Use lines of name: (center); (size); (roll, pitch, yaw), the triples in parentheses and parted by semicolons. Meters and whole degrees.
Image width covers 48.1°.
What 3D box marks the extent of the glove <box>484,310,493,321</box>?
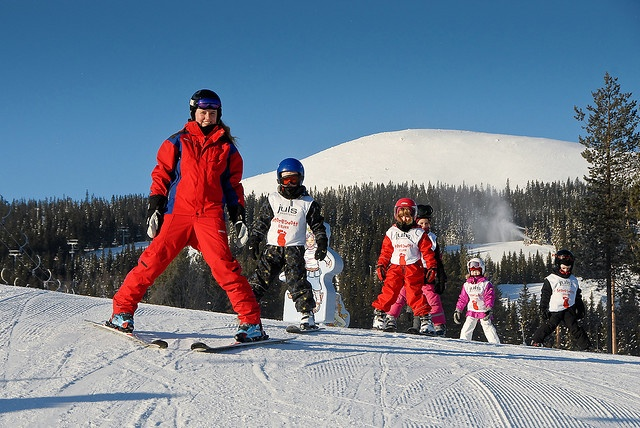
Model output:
glove: (4.287, 2.570, 18.283); (0.190, 0.276, 0.236); (-5, -23, 7)

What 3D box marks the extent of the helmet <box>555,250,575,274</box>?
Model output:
helmet: (6.056, 1.162, 17.766); (0.417, 0.618, 0.574); (3, -3, 0)

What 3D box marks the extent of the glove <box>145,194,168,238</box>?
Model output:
glove: (-2.885, 0.023, 12.615); (0.365, 0.688, 0.253); (2, -9, 29)

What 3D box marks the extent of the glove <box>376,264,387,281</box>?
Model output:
glove: (1.376, 1.345, 16.543); (0.226, 0.344, 0.109); (4, -5, -43)

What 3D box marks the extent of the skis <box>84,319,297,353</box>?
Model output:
skis: (-2.410, 2.198, 12.881); (2.297, 0.211, 0.279); (7, -6, 6)

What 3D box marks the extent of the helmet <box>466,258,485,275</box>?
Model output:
helmet: (4.047, 1.365, 18.739); (0.337, 0.461, 0.483); (-6, -37, 25)

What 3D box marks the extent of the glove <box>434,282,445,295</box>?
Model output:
glove: (2.766, 1.700, 16.534); (0.104, 0.295, 0.203); (2, -14, -35)

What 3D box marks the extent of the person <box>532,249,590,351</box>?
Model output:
person: (6.015, 2.247, 17.762); (1.194, 2.736, 1.198); (7, 12, 18)

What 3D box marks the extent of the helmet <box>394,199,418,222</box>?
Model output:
helmet: (2.021, -0.089, 16.819); (0.416, 0.469, 0.489); (0, -13, 6)

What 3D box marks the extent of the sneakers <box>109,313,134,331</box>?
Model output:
sneakers: (-3.497, 1.879, 12.683); (0.388, 0.294, 0.241); (19, -5, 20)

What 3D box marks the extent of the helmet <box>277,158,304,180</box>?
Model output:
helmet: (-0.557, -0.922, 14.562); (0.521, 0.476, 0.653); (1, 13, -15)
